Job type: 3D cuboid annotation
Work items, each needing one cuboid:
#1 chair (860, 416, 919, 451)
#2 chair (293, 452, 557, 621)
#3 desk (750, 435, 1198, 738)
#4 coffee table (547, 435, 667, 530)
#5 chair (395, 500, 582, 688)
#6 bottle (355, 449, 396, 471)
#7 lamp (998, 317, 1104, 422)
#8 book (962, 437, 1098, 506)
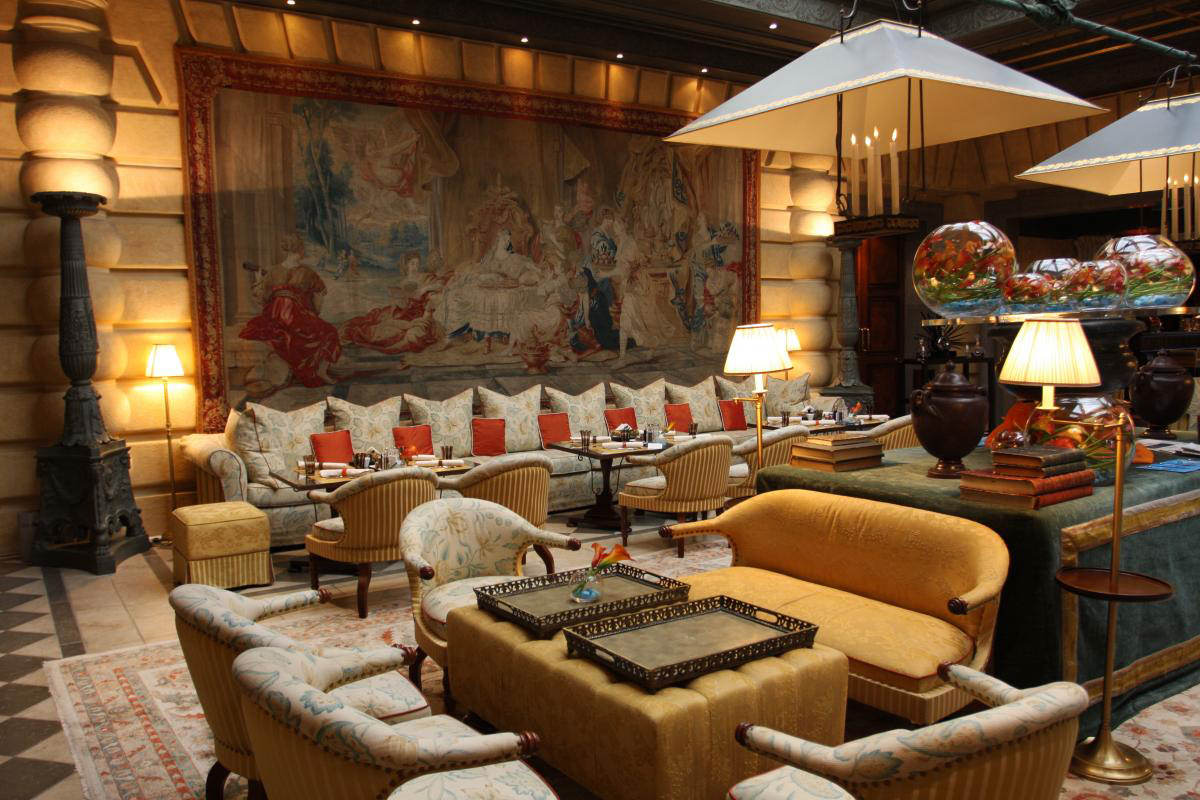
[{"bbox_3d":[2.318,0.273,6.497,0.287,0.248,0.205,-7,28,-12],"label":"chair"},{"bbox_3d":[-1.294,0.704,6.133,2.356,1.065,1.259,-4,9,-33],"label":"chair"},{"bbox_3d":[2.166,0.914,4.679,1.790,0.607,1.715,-3,5,-41],"label":"desk"},{"bbox_3d":[0.090,0.808,8.040,1.111,0.728,1.074,8,9,35],"label":"coffee table"},{"bbox_3d":[-0.735,0.991,5.051,1.319,0.944,1.139,-6,10,-36],"label":"chair"},{"bbox_3d":[-1.880,0.510,6.804,0.264,0.095,0.306,1,2,-12],"label":"bottle"},{"bbox_3d":[2.258,-0.200,4.102,0.490,0.343,0.450,6,11,28],"label":"lamp"},{"bbox_3d":[2.265,0.377,4.323,0.507,0.278,0.418,-8,12,-34],"label":"book"}]
